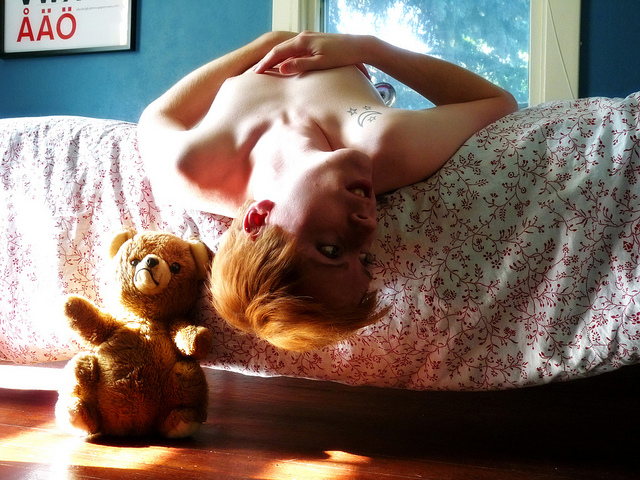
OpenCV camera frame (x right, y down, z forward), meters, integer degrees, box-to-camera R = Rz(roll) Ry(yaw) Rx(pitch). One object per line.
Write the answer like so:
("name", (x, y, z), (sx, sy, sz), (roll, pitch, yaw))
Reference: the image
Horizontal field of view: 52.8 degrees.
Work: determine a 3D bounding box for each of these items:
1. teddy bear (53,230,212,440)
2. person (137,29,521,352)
("teddy bear", (-0.444, 0.221, 1.540), (0.332, 0.298, 0.542), (7, 65, -19))
("person", (-0.005, -0.172, 1.517), (0.744, 0.333, 1.011), (-5, 49, 3))
